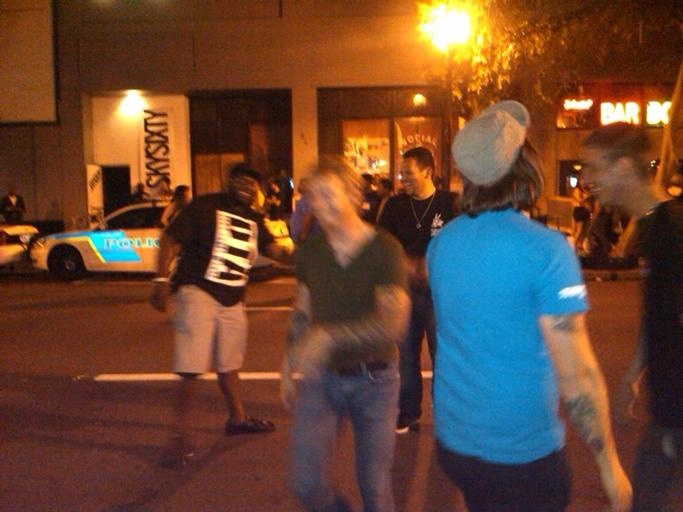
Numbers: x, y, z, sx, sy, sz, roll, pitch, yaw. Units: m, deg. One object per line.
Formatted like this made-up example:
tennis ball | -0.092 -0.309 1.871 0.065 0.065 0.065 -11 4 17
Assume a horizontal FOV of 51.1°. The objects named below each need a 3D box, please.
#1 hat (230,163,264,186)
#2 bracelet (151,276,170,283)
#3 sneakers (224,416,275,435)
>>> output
hat | -0.769 -0.643 5.710 0.190 0.210 0.161 -5 -1 1
bracelet | -1.401 0.179 5.571 0.125 0.053 0.093 -4 8 -22
sneakers | -0.781 1.418 6.004 0.395 0.173 0.163 -2 2 -9
